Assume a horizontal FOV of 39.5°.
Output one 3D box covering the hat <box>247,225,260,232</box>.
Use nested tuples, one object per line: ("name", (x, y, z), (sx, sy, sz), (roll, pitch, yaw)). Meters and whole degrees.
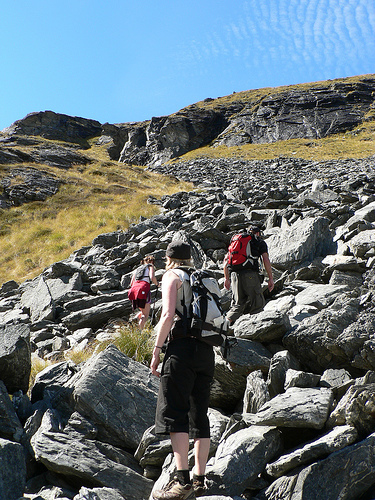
("hat", (1.003, -0.323, 8.164), (0.213, 0.079, 0.223), (0, -2, -16))

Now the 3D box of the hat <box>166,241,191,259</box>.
("hat", (-0.092, 0.015, 5.468), (0.221, 0.114, 0.201), (3, 10, -9))

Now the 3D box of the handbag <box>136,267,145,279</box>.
("handbag", (-0.850, 0.419, 9.316), (0.144, 0.181, 0.065), (-6, -32, 42))
